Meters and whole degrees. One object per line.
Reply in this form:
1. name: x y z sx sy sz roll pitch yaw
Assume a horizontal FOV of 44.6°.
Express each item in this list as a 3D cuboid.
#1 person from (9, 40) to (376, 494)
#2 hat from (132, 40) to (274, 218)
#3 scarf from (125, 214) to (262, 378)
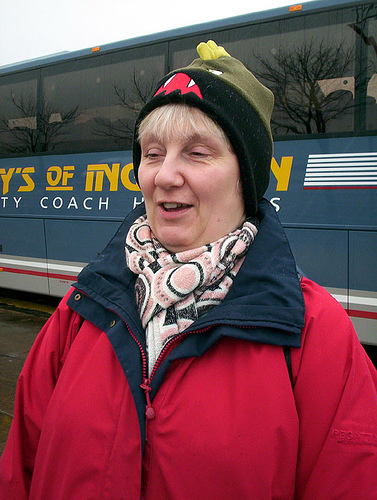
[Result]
1. person: 0.006 0.027 1.318 1.005 1.352 0.585 2 5 30
2. hat: 0.052 -0.409 1.521 0.379 0.517 0.431 8 2 28
3. scarf: -0.009 0.069 1.401 0.383 0.132 0.684 -5 36 5
